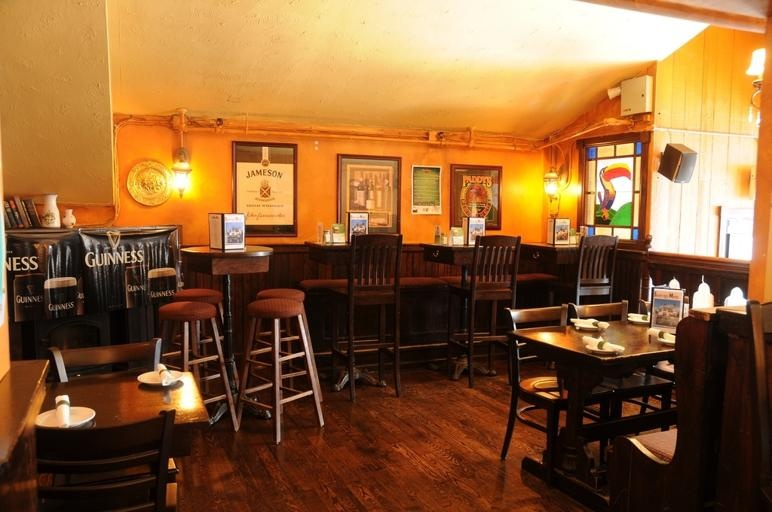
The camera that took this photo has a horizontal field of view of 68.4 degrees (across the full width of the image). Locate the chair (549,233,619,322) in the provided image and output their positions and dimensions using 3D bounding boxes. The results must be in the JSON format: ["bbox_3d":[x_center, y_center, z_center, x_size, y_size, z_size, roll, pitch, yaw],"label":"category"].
[{"bbox_3d":[2.319,0.297,6.738,0.678,1.019,0.668,-1,2,-34],"label":"chair"}]

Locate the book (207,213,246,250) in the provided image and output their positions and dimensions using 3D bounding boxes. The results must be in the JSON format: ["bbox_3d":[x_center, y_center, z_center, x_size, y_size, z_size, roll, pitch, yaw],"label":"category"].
[{"bbox_3d":[-1.519,-0.239,5.416,0.234,0.295,0.304,4,5,33],"label":"book"}]

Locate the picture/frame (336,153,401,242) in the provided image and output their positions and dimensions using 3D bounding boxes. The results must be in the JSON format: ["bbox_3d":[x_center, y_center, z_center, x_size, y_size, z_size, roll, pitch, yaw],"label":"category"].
[{"bbox_3d":[-0.253,-0.744,6.973,1.197,1.316,0.091,-2,5,-23],"label":"picture/frame"}]

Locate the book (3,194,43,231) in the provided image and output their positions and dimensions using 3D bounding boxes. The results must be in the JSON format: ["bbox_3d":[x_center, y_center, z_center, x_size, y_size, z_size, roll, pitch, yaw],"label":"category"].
[{"bbox_3d":[-3.479,-0.419,5.455,0.291,0.281,0.549,-7,13,-31],"label":"book"}]

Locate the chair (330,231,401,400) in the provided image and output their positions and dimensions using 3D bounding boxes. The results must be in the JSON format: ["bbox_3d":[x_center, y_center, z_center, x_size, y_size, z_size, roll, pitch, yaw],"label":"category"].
[{"bbox_3d":[-0.256,0.630,6.045,0.671,1.712,0.684,2,-3,-29],"label":"chair"}]

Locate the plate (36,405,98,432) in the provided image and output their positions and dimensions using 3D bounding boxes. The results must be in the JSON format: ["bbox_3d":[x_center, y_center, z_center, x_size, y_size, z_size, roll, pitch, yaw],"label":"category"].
[{"bbox_3d":[-1.662,0.846,2.957,0.172,0.023,0.171,0,8,-18],"label":"plate"}]

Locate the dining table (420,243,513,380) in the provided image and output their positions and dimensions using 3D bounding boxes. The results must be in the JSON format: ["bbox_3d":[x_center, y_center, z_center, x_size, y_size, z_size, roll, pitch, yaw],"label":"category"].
[{"bbox_3d":[1.079,0.536,6.620,0.836,1.554,0.918,2,0,-15],"label":"dining table"}]

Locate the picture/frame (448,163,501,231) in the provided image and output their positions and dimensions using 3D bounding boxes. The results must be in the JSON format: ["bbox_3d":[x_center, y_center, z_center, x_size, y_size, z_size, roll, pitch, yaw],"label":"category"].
[{"bbox_3d":[1.144,-0.808,7.573,1.019,1.125,0.075,0,1,-22],"label":"picture/frame"}]

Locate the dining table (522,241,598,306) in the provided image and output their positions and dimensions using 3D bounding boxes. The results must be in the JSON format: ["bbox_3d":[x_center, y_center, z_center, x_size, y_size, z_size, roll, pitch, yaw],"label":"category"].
[{"bbox_3d":[2.034,0.203,7.052,0.770,1.139,0.763,2,1,-24],"label":"dining table"}]

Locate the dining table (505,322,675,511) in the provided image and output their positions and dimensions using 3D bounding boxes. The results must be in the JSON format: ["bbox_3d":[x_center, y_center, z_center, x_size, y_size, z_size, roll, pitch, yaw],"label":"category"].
[{"bbox_3d":[1.659,1.055,4.529,1.480,1.188,1.158,-3,8,-32],"label":"dining table"}]
